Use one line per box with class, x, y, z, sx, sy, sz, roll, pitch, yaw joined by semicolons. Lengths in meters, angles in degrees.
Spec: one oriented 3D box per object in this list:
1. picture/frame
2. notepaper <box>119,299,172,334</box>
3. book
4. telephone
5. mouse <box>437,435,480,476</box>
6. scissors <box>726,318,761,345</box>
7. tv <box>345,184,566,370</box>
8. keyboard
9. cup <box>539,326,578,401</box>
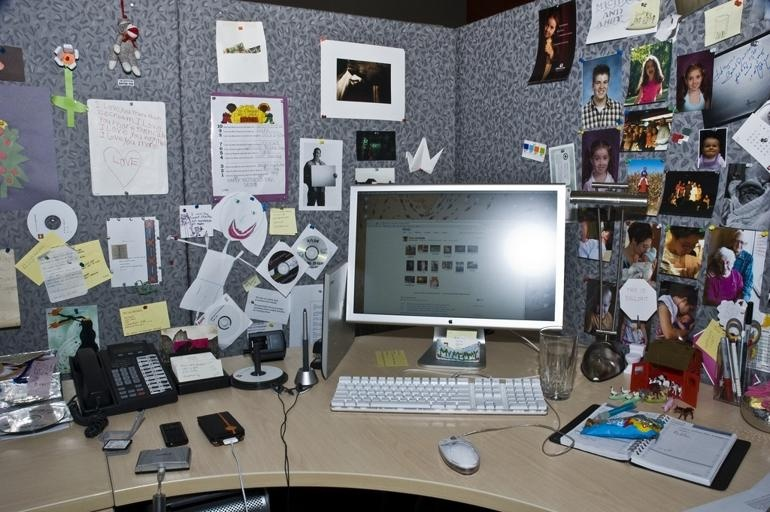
picture/frame;-0.072;-0.618;1.955;0.319;0.259;0.016;-2;5;-23
notepaper;-0.769;0.191;1.758;0.104;0.076;0.006;-8;5;-13
book;0.671;0.476;1.411;0.461;0.079;0.203;3;8;24
telephone;-0.762;0.339;1.602;0.294;0.095;0.290;5;24;-24
mouse;0.183;0.484;1.378;0.098;0.039;0.134;4;14;-11
scissors;0.998;0.209;1.537;0.056;0.082;0.019;20;-1;17
tv;0.234;0.050;1.789;0.631;0.527;0.079;0;7;-2
keyboard;0.145;0.399;1.601;0.605;0.051;0.194;-2;5;11
cup;0.499;0.323;1.652;0.114;0.181;0.117;1;6;0
